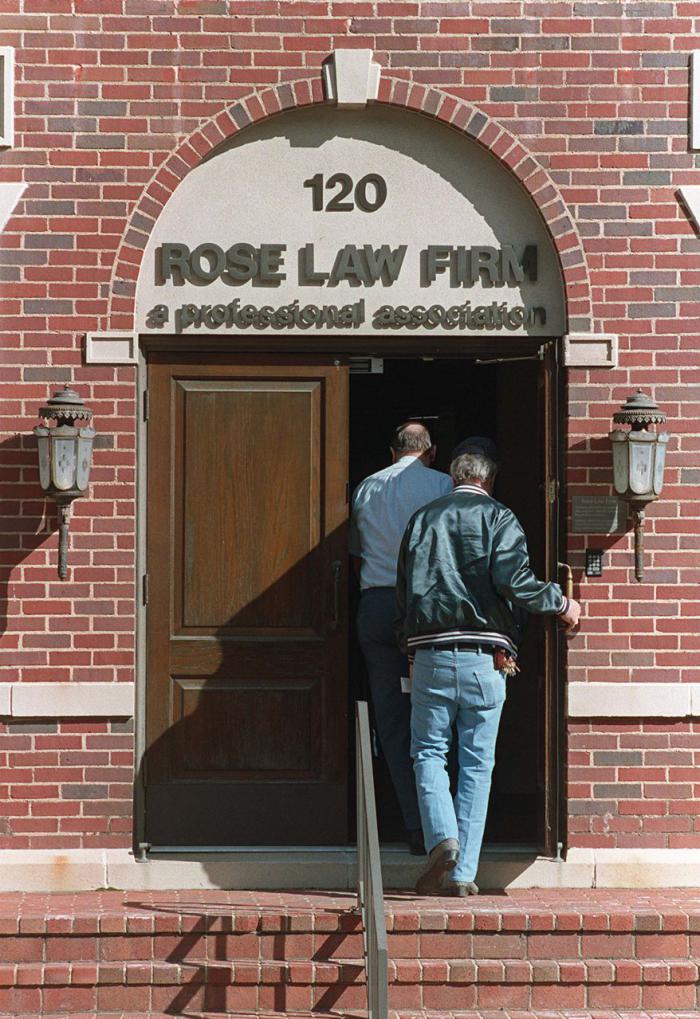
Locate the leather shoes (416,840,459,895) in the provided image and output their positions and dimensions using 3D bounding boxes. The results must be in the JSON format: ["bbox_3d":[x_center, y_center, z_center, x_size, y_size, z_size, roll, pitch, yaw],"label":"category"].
[{"bbox_3d":[0.388,1.574,9.436,0.108,0.135,0.333,10,-43,-5],"label":"leather shoes"}]

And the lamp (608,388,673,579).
[{"bbox_3d":[1.339,-0.082,9.998,0.260,0.875,0.343,-1,1,7],"label":"lamp"}]

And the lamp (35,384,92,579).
[{"bbox_3d":[-1.307,-0.090,9.917,0.264,0.872,0.343,-1,1,-7],"label":"lamp"}]

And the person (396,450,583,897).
[{"bbox_3d":[0.557,0.767,9.628,0.667,1.994,0.688,-1,1,-3],"label":"person"}]

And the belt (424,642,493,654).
[{"bbox_3d":[0.488,0.633,9.602,0.302,0.056,0.049,-1,1,2],"label":"belt"}]

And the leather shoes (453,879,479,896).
[{"bbox_3d":[0.523,1.709,9.669,0.049,0.074,0.147,1,1,17],"label":"leather shoes"}]
